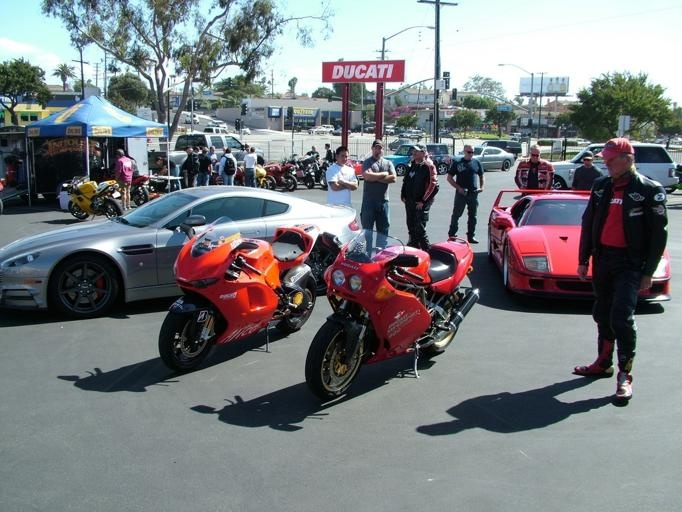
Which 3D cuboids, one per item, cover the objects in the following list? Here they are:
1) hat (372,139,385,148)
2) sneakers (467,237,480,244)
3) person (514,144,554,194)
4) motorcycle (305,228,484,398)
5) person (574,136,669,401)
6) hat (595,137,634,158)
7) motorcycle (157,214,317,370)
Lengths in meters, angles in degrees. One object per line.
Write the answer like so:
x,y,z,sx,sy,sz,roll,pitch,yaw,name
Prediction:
0.629,-1.950,9.731,0.142,0.112,0.215,2,-2,2,hat
2.883,-0.360,12.179,0.325,0.110,0.227,0,-34,16,sneakers
4.247,-1.922,12.289,0.711,0.895,0.902,2,13,9,person
0.518,0.384,5.572,2.239,1.335,0.964,-7,22,-44,motorcycle
2.642,0.100,5.187,0.522,2.304,0.801,-2,13,-11,person
2.520,-0.984,5.181,0.264,0.151,0.181,5,31,5,hat
-1.068,0.403,6.001,0.595,1.421,1.831,9,16,34,motorcycle
